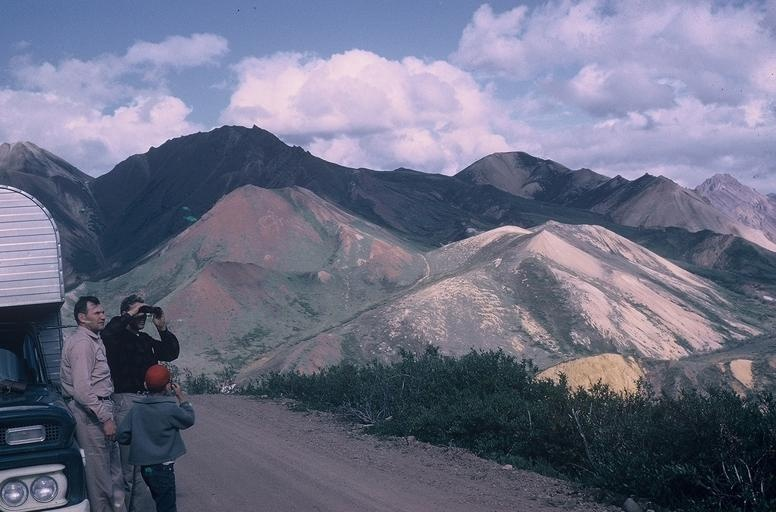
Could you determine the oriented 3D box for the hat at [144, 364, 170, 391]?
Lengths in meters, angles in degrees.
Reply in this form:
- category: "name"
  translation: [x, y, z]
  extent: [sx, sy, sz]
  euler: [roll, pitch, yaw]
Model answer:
- category: "hat"
  translation: [-4.224, 2.240, 13.099]
  extent: [0.358, 0.499, 0.505]
  euler: [13, -56, -9]
